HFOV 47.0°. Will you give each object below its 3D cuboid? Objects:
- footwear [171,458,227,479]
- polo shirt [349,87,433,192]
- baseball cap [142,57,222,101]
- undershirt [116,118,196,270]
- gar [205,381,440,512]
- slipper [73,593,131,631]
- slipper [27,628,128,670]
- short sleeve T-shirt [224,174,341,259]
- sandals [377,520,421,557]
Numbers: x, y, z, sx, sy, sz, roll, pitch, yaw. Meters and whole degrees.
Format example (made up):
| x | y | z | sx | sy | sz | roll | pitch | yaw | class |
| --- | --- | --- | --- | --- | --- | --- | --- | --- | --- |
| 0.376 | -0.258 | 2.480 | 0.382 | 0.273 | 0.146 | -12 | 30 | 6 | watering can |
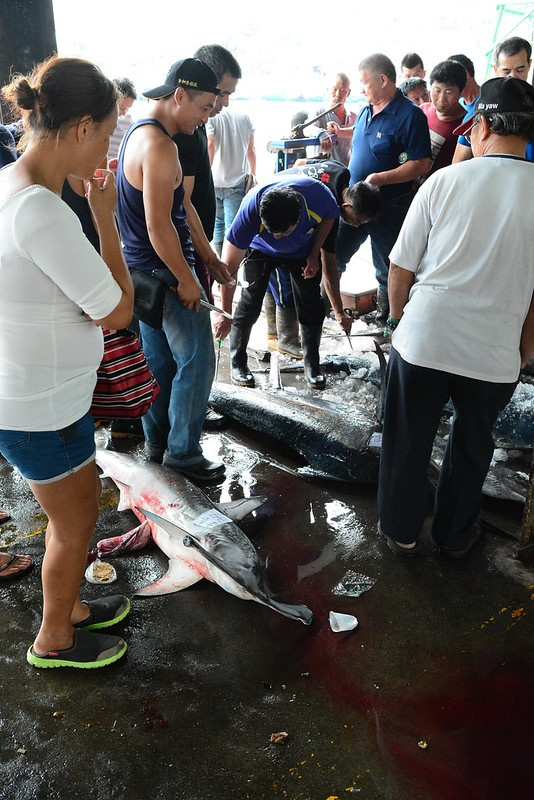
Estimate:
| x | y | z | sx | sy | sz | roll | pitch | yaw | class |
| --- | --- | --- | --- | --- | --- | --- | --- | --- | --- |
| -0.377 | 0.370 | 3.438 | 0.304 | 0.131 | 0.106 | -3 | 25 | -5 | footwear |
| 0.947 | -2.155 | 5.159 | 0.454 | 0.749 | 0.756 | -19 | 39 | -30 | polo shirt |
| -0.383 | -1.411 | 2.698 | 0.293 | 0.145 | 0.174 | 3 | 40 | -4 | baseball cap |
| -0.528 | -0.974 | 3.010 | 0.384 | 0.693 | 0.357 | -10 | 31 | -30 | undershirt |
| 0.154 | 0.150 | 3.802 | 0.355 | 0.384 | 1.820 | -43 | 37 | -19 | gar |
| -0.614 | 0.789 | 2.343 | 0.218 | 0.074 | 0.081 | -15 | 30 | -39 | slipper |
| -0.663 | 0.847 | 2.169 | 0.326 | 0.124 | 0.142 | -1 | 13 | -19 | slipper |
| 0.100 | -1.201 | 4.134 | 0.764 | 0.575 | 0.378 | -8 | 68 | -4 | short sleeve T-shirt |
| 0.590 | 0.643 | 2.856 | 0.095 | 0.094 | 0.246 | -20 | 35 | -20 | sandals |
